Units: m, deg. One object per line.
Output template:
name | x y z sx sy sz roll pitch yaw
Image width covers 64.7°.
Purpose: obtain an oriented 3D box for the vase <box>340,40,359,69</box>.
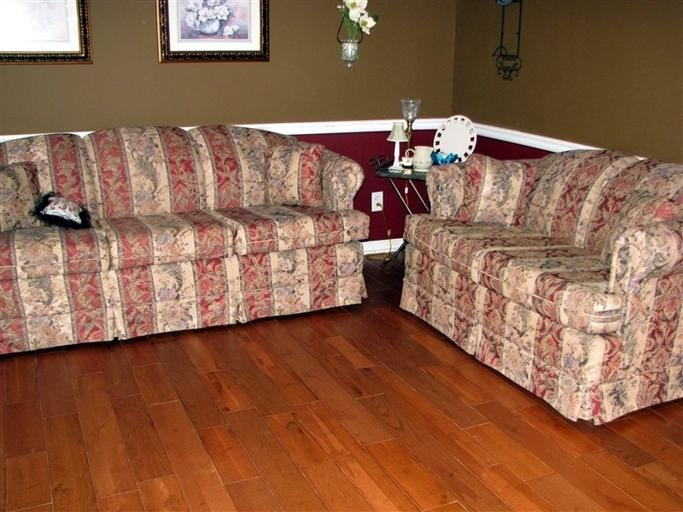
vase | 0.069 -1.640 4.371 0.143 0.214 0.229 1 21 1
